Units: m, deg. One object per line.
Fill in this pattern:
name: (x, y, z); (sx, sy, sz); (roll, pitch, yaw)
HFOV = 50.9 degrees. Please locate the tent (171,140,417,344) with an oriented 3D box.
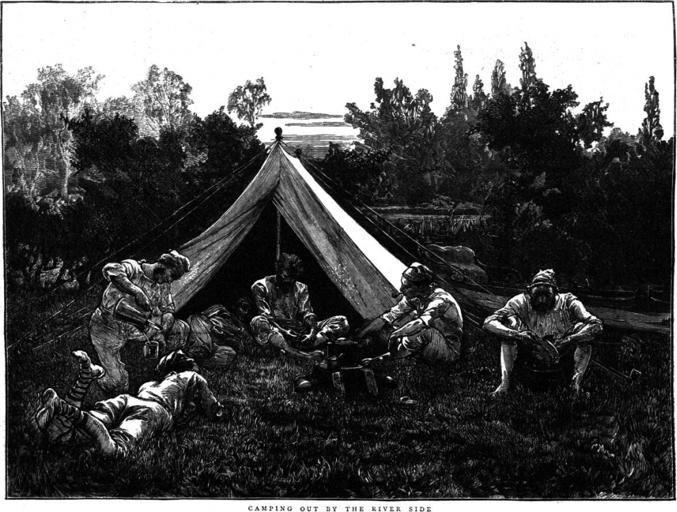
tent: (-0.326, -0.174, 7.305); (1.742, 1.264, 1.471); (2, 5, 8)

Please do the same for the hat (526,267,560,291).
hat: (1.953, 0.228, 6.722); (0.185, 0.202, 0.220); (4, -5, -26)

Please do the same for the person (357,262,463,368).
person: (0.701, 0.569, 6.836); (0.933, 0.951, 0.715); (1, 5, -21)

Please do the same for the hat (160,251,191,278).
hat: (-1.539, 0.083, 6.768); (0.211, 0.275, 0.106); (-44, 0, -13)
